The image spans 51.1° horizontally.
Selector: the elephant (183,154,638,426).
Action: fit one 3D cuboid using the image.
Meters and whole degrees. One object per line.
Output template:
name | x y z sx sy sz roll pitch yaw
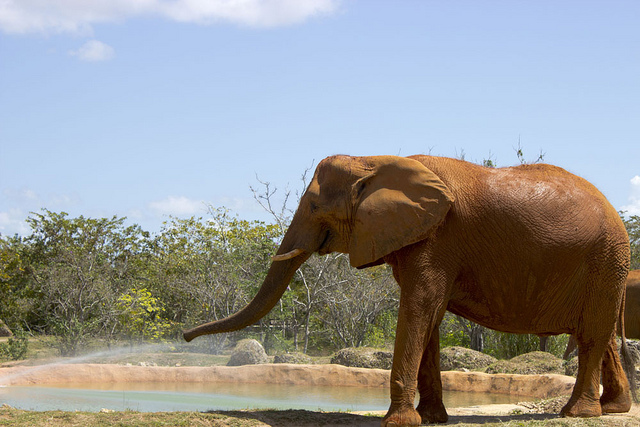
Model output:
elephant | 2.702 1.826 15.065 9.870 6.206 4.162 1 -8 3
